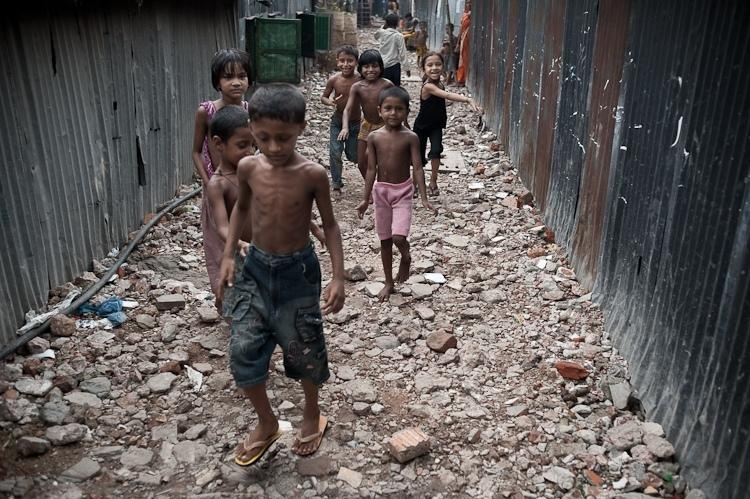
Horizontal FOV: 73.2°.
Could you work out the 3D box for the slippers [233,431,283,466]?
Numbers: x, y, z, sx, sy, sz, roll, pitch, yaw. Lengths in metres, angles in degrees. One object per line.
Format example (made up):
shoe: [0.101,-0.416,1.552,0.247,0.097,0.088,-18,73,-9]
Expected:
slippers: [-0.712,1.205,3.105,0.267,0.073,0.152,-33,31,-28]

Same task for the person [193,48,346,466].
person: [-0.623,0.106,3.195,0.761,2.190,0.942,-7,22,-19]
